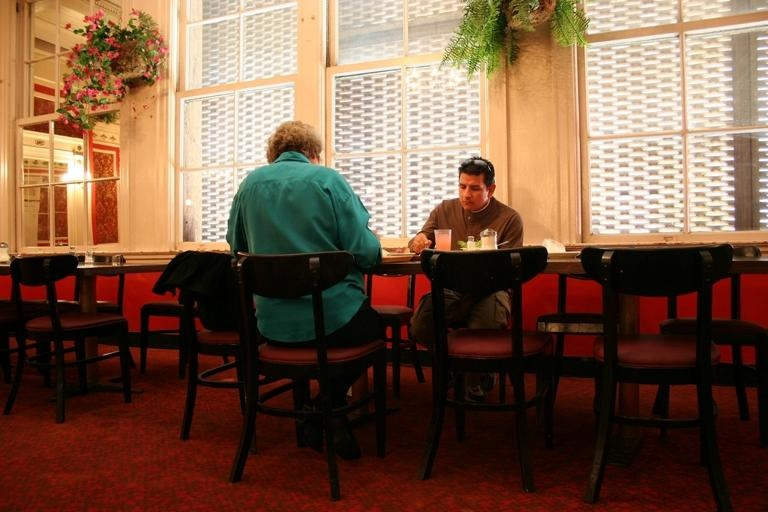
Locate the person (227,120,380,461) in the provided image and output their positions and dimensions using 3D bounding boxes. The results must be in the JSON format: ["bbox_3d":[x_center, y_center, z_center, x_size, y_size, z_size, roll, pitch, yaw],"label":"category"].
[{"bbox_3d":[-0.448,0.173,3.529,0.777,1.791,0.539,6,12,38],"label":"person"}]

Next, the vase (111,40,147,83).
[{"bbox_3d":[-2.273,-1.719,5.764,0.341,0.265,0.261,-5,3,27],"label":"vase"}]

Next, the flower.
[{"bbox_3d":[-2.538,-1.692,5.905,1.122,1.056,0.630,5,12,35],"label":"flower"}]

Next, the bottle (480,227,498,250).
[{"bbox_3d":[0.555,-0.092,3.587,0.115,0.122,0.109,-1,-5,3],"label":"bottle"}]

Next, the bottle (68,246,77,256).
[{"bbox_3d":[-2.736,-0.044,5.697,0.076,0.102,0.071,-3,-17,-1],"label":"bottle"}]

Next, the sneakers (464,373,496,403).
[{"bbox_3d":[0.577,0.771,3.878,0.187,0.211,0.237,3,-6,-18],"label":"sneakers"}]
